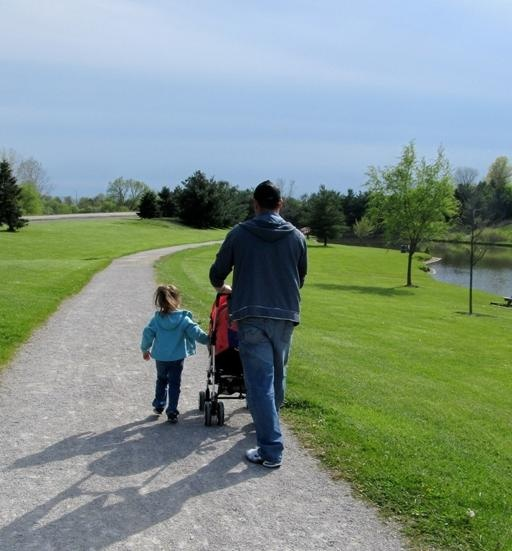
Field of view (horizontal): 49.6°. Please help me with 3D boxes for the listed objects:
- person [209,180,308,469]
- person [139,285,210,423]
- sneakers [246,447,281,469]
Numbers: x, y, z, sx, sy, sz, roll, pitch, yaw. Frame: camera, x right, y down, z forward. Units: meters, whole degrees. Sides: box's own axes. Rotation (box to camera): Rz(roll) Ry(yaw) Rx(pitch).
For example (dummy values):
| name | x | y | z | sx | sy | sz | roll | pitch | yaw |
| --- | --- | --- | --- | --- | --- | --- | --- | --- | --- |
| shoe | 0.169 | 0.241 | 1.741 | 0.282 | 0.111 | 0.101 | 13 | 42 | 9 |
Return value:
| name | x | y | z | sx | sy | sz | roll | pitch | yaw |
| --- | --- | --- | --- | --- | --- | --- | --- | --- | --- |
| person | 0.010 | 0.425 | 5.248 | 1.063 | 2.468 | 0.943 | -4 | -9 | 23 |
| person | -0.858 | 0.809 | 5.797 | 0.524 | 1.384 | 0.471 | 11 | 9 | 44 |
| sneakers | 0.031 | 1.579 | 4.821 | 0.334 | 0.142 | 0.120 | 13 | 8 | 24 |
